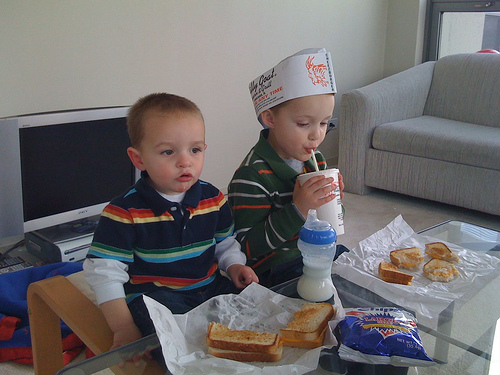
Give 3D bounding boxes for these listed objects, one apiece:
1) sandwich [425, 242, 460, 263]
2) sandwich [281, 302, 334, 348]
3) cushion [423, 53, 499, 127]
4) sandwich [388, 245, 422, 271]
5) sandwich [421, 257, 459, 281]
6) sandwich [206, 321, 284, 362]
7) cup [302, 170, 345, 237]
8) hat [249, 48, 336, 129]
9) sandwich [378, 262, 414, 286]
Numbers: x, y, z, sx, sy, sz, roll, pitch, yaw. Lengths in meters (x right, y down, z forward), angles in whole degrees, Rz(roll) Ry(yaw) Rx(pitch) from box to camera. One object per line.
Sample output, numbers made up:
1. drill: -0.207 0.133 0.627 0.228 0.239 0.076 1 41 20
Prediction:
1. sandwich: 0.532 0.180 1.123 0.056 0.016 0.058 13 3 -11
2. sandwich: 0.118 0.279 0.848 0.065 0.030 0.109 1 18 25
3. cushion: 1.623 -0.729 3.042 0.263 0.455 0.506 5 15 -45
4. sandwich: 0.425 0.193 1.085 0.077 0.021 0.053 -14 17 -42
5. sandwich: 0.506 0.210 1.048 0.060 0.015 0.061 -8 19 -8
6. sandwich: -0.012 0.306 0.811 0.105 0.037 0.076 -1 10 -3
7. cup: 0.209 0.050 1.187 0.140 0.209 0.140 -7 -7 -1
8. hat: 0.118 -0.306 1.271 0.301 0.237 0.183 0 18 19
9. sandwich: 0.367 0.225 1.023 0.054 0.017 0.062 10 16 9
